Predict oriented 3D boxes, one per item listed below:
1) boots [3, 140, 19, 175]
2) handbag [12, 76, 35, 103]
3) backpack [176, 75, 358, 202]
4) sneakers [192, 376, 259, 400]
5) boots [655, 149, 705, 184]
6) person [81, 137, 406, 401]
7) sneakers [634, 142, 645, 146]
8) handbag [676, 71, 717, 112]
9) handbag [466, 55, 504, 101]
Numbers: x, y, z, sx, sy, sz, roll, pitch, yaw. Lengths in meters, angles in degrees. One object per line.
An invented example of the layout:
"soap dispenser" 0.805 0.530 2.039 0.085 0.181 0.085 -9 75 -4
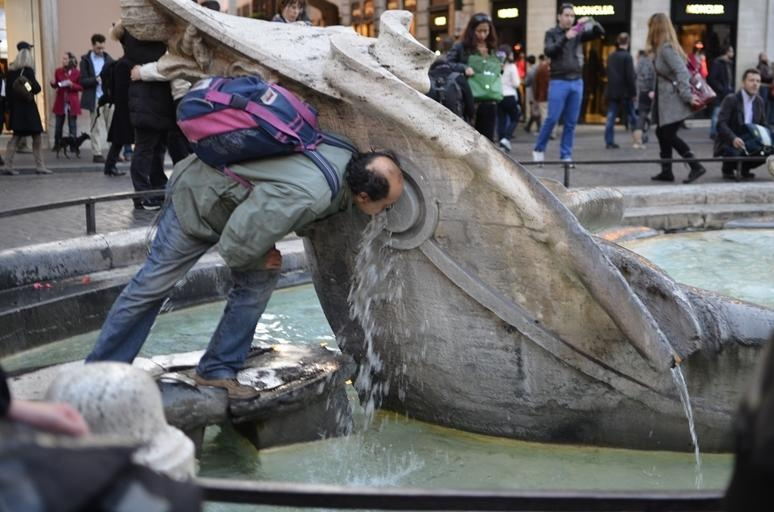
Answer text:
"boots" -6.010 -1.624 13.659 0.249 0.565 1.287 -4 9 -23
"handbag" -5.626 -2.587 13.260 0.204 0.382 0.279 -16 16 45
"backpack" -0.587 -0.562 4.165 0.781 0.425 0.505 14 52 -4
"sneakers" -0.775 0.649 4.214 0.232 0.067 0.138 19 -1 3
"boots" 3.873 -1.163 11.187 0.638 0.383 1.218 0 9 4
"person" -0.780 0.067 4.409 1.473 1.561 0.848 11 21 -3
"sneakers" 5.027 -2.220 17.032 0.190 0.076 0.245 2 9 14
"handbag" 4.170 -2.234 11.501 0.426 0.518 0.568 5 10 32
"handbag" 1.253 -2.296 10.890 0.461 0.596 0.237 -2 8 -9
